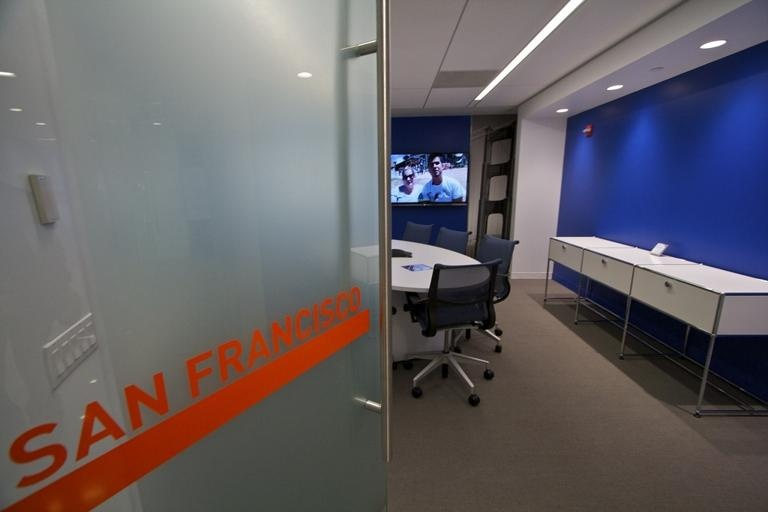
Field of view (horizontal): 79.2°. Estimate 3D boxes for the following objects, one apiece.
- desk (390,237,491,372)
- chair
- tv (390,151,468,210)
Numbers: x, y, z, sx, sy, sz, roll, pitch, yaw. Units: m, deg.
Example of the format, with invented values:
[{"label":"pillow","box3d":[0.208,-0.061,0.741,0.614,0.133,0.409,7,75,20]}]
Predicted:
[{"label":"desk","box3d":[0.349,0.287,3.644,0.821,0.302,1.242,0,20,-4]},{"label":"chair","box3d":[0.597,0.482,3.634,0.974,1.375,0.939,-5,27,-14]},{"label":"tv","box3d":[0.627,-1.061,6.301,1.362,0.887,0.063,-1,17,0]}]
